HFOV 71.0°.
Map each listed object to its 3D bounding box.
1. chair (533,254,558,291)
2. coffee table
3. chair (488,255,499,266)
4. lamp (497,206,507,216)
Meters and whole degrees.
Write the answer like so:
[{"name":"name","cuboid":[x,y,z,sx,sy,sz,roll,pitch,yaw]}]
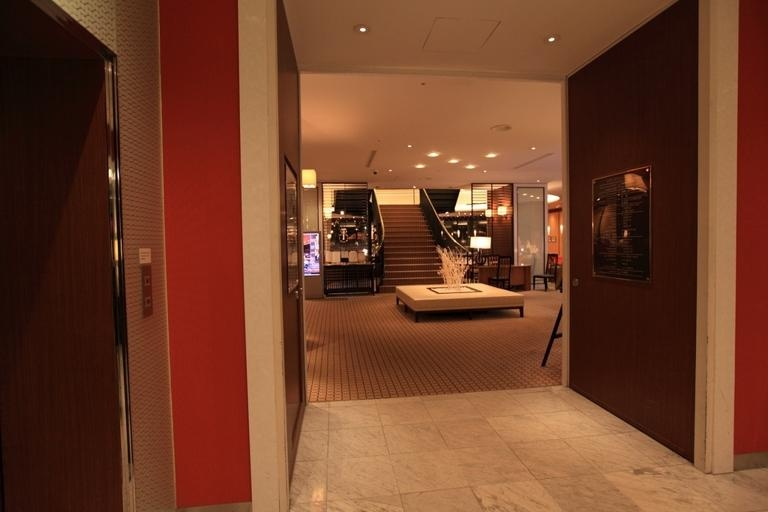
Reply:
[{"name":"chair","cuboid":[3.990,0.380,13.203,0.494,0.850,0.472,-2,3,-16]},{"name":"coffee table","cuboid":[1.327,0.693,9.163,1.970,0.516,1.557,-2,13,-10]},{"name":"chair","cuboid":[2.665,0.085,13.116,0.250,0.261,0.265,-1,-3,8]},{"name":"lamp","cuboid":[2.957,-1.145,13.443,0.202,0.222,0.216,-1,4,14]}]
